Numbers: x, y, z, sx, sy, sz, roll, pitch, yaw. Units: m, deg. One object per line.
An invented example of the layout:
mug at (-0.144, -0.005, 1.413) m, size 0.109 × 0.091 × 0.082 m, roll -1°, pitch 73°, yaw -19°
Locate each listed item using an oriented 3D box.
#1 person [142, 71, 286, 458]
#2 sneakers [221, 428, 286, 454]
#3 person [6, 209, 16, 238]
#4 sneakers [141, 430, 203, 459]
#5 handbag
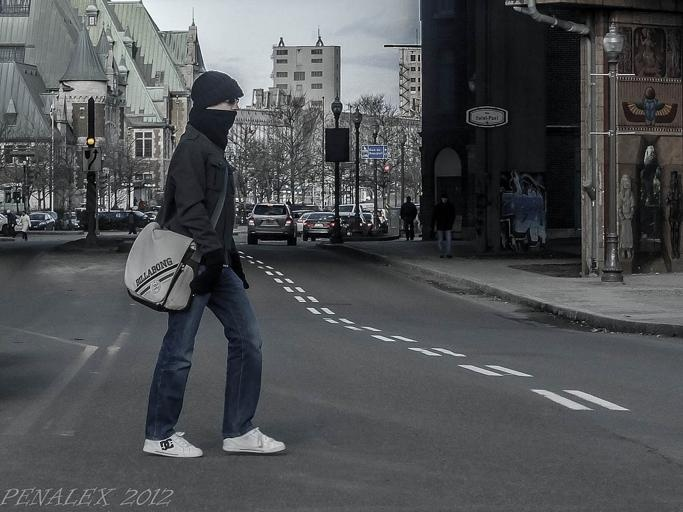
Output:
person at (-0.967, 0.089, 6.089) m, size 0.955 × 2.876 × 0.761 m, roll -3°, pitch 5°, yaw -21°
sneakers at (-0.644, 1.379, 6.305) m, size 0.485 × 0.254 × 0.190 m, roll 1°, pitch 0°, yaw -6°
person at (-21.953, -2.127, 56.425) m, size 0.385 × 1.695 × 2.194 m, roll -3°, pitch 7°, yaw -23°
sneakers at (-1.220, 1.399, 6.205) m, size 0.466 × 0.232 × 0.183 m, roll 2°, pitch 2°, yaw -1°
handbag at (-1.268, 0.087, 5.913) m, size 0.552 × 0.630 × 0.233 m, roll 2°, pitch 6°, yaw 23°
